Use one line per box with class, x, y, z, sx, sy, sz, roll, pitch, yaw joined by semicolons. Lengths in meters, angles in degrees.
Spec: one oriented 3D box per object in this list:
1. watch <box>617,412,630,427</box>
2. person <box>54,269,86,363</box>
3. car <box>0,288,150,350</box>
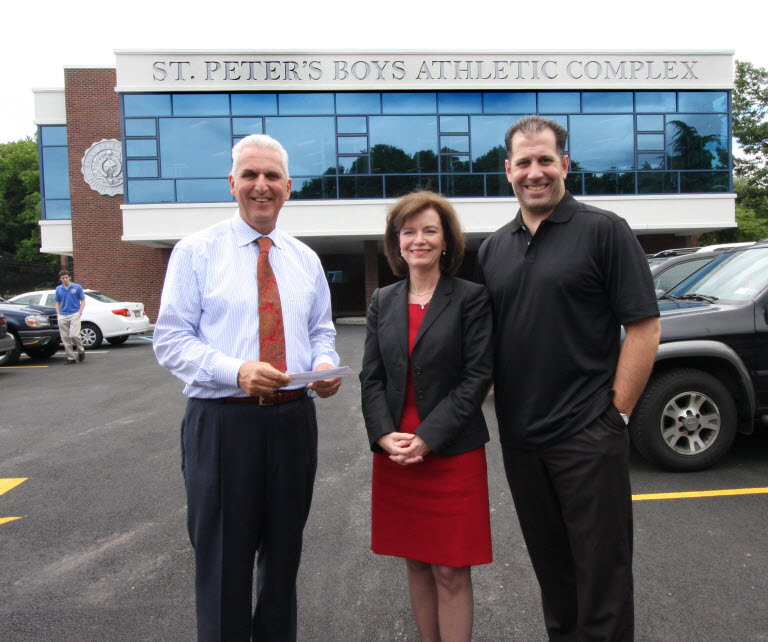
watch;1.121;0.457;3.045;0.048;0.071;0.026;-4;-15;-15
person;-6.578;-0.090;13.611;0.555;1.892;1.331;-7;10;-25
car;-7.619;-0.086;16.231;3.494;1.314;1.517;2;-1;-2
